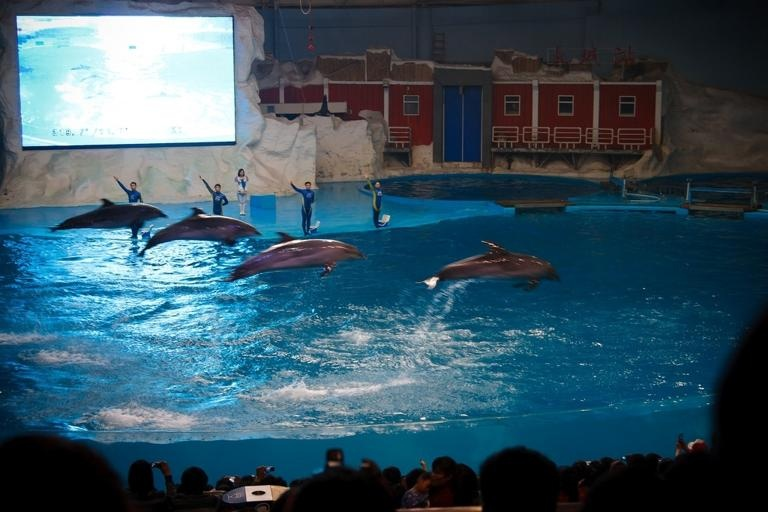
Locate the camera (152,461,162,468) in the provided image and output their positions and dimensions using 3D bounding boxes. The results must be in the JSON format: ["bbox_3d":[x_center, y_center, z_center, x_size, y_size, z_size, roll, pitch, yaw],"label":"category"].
[{"bbox_3d":[-2.661,2.431,8.439,0.131,0.041,0.150,1,2,-7],"label":"camera"}]

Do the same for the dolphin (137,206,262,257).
[{"bbox_3d":[-3.530,-0.374,14.183,2.084,0.914,1.305,-5,15,-28],"label":"dolphin"}]

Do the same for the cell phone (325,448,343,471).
[{"bbox_3d":[-0.392,1.590,5.718,0.141,0.133,0.227,1,3,-4],"label":"cell phone"}]

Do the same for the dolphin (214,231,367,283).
[{"bbox_3d":[-1.576,-0.024,13.229,2.289,0.783,0.598,-2,5,-37],"label":"dolphin"}]
